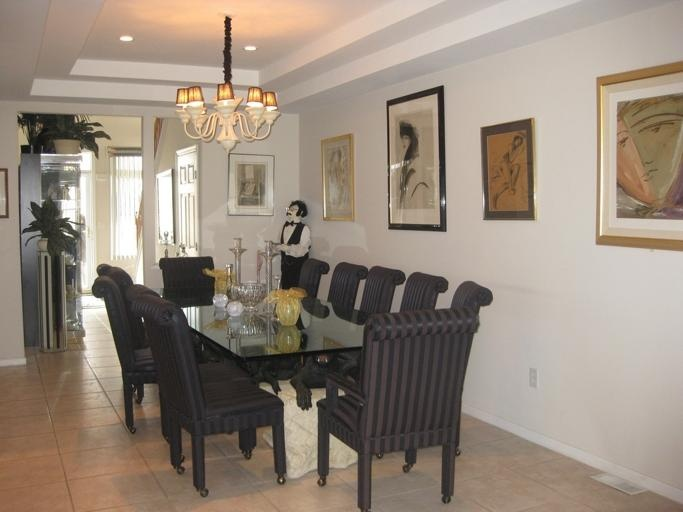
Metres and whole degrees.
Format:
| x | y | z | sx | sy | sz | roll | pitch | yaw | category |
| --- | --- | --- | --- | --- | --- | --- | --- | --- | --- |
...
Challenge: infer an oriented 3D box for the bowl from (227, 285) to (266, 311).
| x | y | z | sx | sy | sz | roll | pitch | yaw | category |
| --- | --- | --- | --- | --- | --- | --- | --- | --- | --- |
| -0.770 | 0.341 | 4.343 | 0.217 | 0.154 | 0.223 | 0 | -5 | 0 | bowl |

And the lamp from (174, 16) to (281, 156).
| x | y | z | sx | sy | sz | roll | pitch | yaw | category |
| --- | --- | --- | --- | --- | --- | --- | --- | --- | --- |
| -1.197 | -1.826 | 5.493 | 1.235 | 1.624 | 1.230 | -2 | 1 | -10 | lamp |

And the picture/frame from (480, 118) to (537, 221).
| x | y | z | sx | sy | sz | roll | pitch | yaw | category |
| --- | --- | --- | --- | --- | --- | --- | --- | --- | --- |
| 1.378 | -0.698 | 4.339 | 0.103 | 0.789 | 0.568 | 0 | 5 | -27 | picture/frame |

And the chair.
| x | y | z | sx | sy | sz | roll | pitch | yaw | category |
| --- | --- | --- | --- | --- | --- | --- | --- | --- | --- |
| -0.154 | 0.885 | 3.369 | 1.927 | 1.286 | 0.902 | 4 | 5 | 16 | chair |

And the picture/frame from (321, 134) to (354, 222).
| x | y | z | sx | sy | sz | roll | pitch | yaw | category |
| --- | --- | --- | --- | --- | --- | --- | --- | --- | --- |
| -0.056 | -0.962 | 6.569 | 0.109 | 1.025 | 0.786 | -1 | 5 | -28 | picture/frame |

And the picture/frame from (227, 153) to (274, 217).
| x | y | z | sx | sy | sz | roll | pitch | yaw | category |
| --- | --- | --- | --- | --- | --- | --- | --- | --- | --- |
| -1.302 | -1.019 | 7.320 | 0.832 | 1.148 | 0.055 | -1 | 9 | -16 | picture/frame |

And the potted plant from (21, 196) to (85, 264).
| x | y | z | sx | sy | sz | roll | pitch | yaw | category |
| --- | --- | --- | --- | --- | --- | --- | --- | --- | --- |
| -3.706 | -0.370 | 6.711 | 0.626 | 0.757 | 0.620 | 0 | 5 | -28 | potted plant |

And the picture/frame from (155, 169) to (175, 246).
| x | y | z | sx | sy | sz | roll | pitch | yaw | category |
| --- | --- | --- | --- | --- | --- | --- | --- | --- | --- |
| -2.820 | -0.814 | 8.408 | 0.061 | 1.484 | 1.254 | 0 | 1 | -26 | picture/frame |
